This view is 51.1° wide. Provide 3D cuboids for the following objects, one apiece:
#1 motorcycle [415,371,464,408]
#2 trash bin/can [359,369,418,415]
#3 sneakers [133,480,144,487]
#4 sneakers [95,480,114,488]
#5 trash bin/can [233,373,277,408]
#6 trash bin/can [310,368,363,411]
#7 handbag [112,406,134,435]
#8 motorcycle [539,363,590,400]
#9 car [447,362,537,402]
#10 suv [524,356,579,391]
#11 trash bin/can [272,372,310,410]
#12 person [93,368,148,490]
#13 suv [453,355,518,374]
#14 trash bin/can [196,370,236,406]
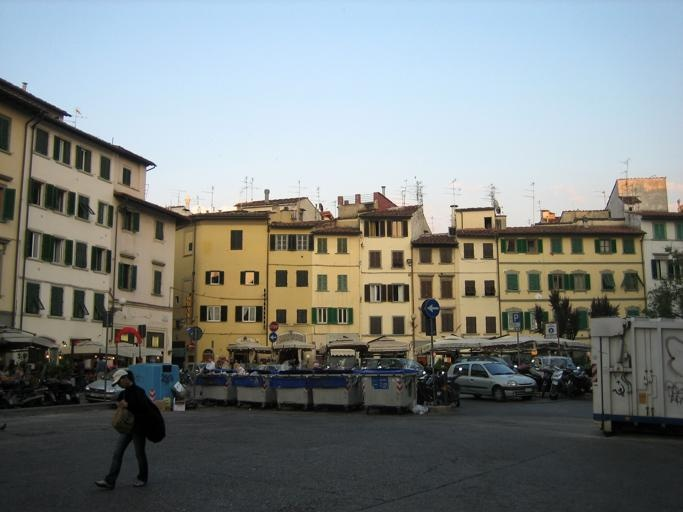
[{"bbox_3d":[3.477,4.693,25.668,1.446,1.054,2.342,-4,-19,5],"label":"motorcycle"},{"bbox_3d":[1.574,4.427,23.434,1.717,1.386,1.058,-1,-10,-2],"label":"trash bin/can"},{"bbox_3d":[-3.325,3.752,11.787,0.198,0.076,0.070,23,-29,-40],"label":"sneakers"},{"bbox_3d":[-3.815,3.712,11.648,0.323,0.131,0.116,11,-14,-1],"label":"sneakers"},{"bbox_3d":[-3.135,5.060,26.937,1.569,0.989,1.165,-3,-8,31],"label":"trash bin/can"},{"bbox_3d":[-0.232,4.534,24.416,1.326,0.867,1.712,-2,-12,10],"label":"trash bin/can"},{"bbox_3d":[-3.632,2.725,11.873,0.340,0.444,0.213,-7,-11,30],"label":"handbag"},{"bbox_3d":[9.598,5.550,31.438,2.952,1.367,1.216,16,-22,-42],"label":"motorcycle"},{"bbox_3d":[6.549,5.415,31.695,1.974,1.424,3.985,3,-10,-30],"label":"car"},{"bbox_3d":[9.581,5.415,33.701,1.481,1.055,2.061,2,-17,-11],"label":"suv"},{"bbox_3d":[-1.739,4.720,26.181,1.546,1.353,1.832,-1,3,11],"label":"trash bin/can"},{"bbox_3d":[-3.658,2.904,12.156,0.751,1.906,0.919,1,-10,-16],"label":"person"},{"bbox_3d":[6.783,4.892,33.388,2.094,0.957,1.210,-6,-6,25],"label":"suv"},{"bbox_3d":[-4.998,5.172,27.757,1.676,1.015,1.265,-2,-4,40],"label":"trash bin/can"}]
